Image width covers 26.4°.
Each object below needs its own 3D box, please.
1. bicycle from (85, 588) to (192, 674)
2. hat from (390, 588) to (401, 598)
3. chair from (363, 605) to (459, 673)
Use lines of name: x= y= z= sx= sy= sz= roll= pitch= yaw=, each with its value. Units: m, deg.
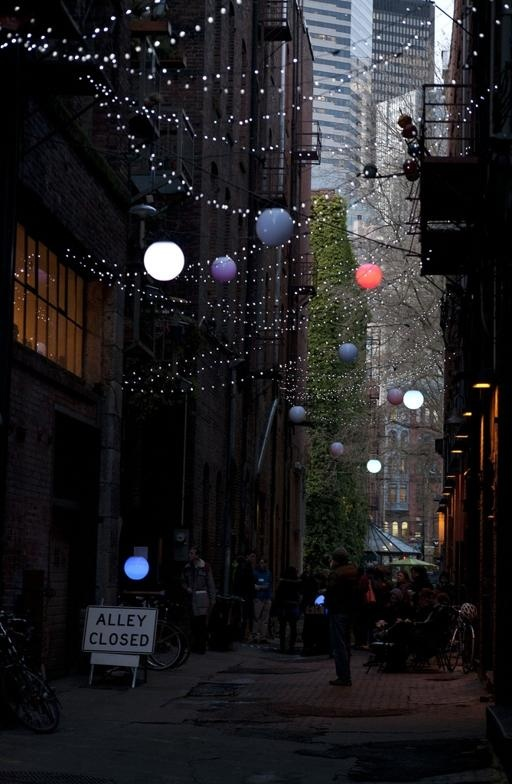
bicycle: x=-1.431 y=3.248 z=15.081 sx=1.465 sy=1.062 sz=0.790 roll=4 pitch=-10 yaw=21
hat: x=2.271 y=3.309 z=17.895 sx=0.135 sy=0.220 sz=0.205 roll=8 pitch=-2 yaw=19
chair: x=2.271 y=3.667 z=16.470 sx=1.246 sy=0.999 sz=1.795 roll=0 pitch=-8 yaw=5
